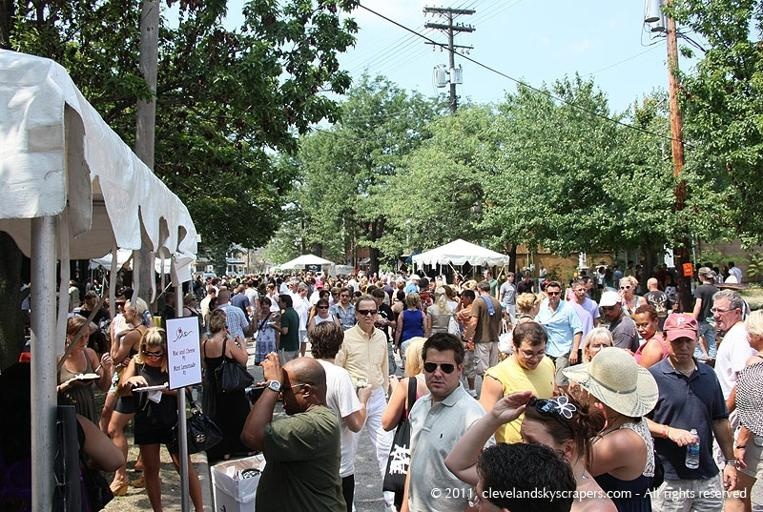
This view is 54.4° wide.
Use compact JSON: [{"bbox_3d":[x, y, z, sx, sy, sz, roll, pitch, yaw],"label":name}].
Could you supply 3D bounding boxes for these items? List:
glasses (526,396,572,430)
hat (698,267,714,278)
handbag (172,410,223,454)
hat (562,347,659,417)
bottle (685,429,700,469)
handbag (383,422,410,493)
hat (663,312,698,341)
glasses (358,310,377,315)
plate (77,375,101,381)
[{"bbox_3d":[1.316,1.202,5.759,0.400,0.199,0.145,-2,-5,-7],"label":"glasses"},{"bbox_3d":[6.377,0.327,14.747,0.210,0.215,0.278,11,14,-20],"label":"hat"},{"bbox_3d":[-2.215,2.071,8.753,0.466,0.486,0.537,1,-6,-40],"label":"handbag"},{"bbox_3d":[1.929,1.179,6.365,0.569,0.291,0.655,-23,49,-39],"label":"hat"},{"bbox_3d":[2.926,1.859,7.000,0.141,0.355,0.269,-4,-5,21],"label":"bottle"},{"bbox_3d":[0.147,1.930,7.117,0.262,0.650,0.320,0,-5,-28],"label":"handbag"},{"bbox_3d":[2.975,0.715,7.409,0.301,0.271,0.396,-5,-5,21],"label":"hat"},{"bbox_3d":[-0.216,0.742,9.640,0.215,0.083,0.060,-3,-5,-2],"label":"glasses"},{"bbox_3d":[-2.695,1.118,6.760,0.153,0.056,0.346,-2,-5,-14],"label":"plate"}]
